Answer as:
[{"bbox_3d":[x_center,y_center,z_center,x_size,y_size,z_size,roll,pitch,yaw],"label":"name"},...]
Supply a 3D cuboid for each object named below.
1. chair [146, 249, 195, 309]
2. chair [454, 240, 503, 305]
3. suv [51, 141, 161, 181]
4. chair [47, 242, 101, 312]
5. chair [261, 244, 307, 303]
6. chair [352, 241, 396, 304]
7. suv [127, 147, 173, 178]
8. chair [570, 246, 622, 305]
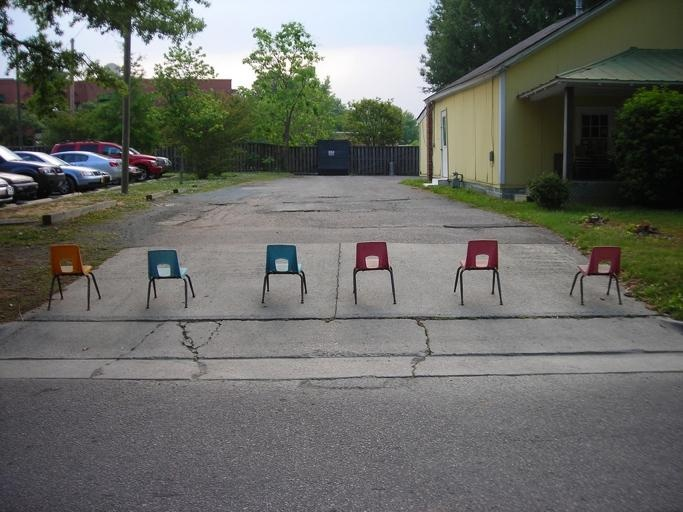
[{"bbox_3d":[-2.612,0.275,9.121,0.719,0.956,0.779,1,16,9],"label":"chair"},{"bbox_3d":[2.157,0.299,9.529,0.723,1.046,0.729,-1,26,1],"label":"chair"},{"bbox_3d":[-11.407,-4.638,28.480,5.485,2.123,2.480,-1,8,-6],"label":"suv"},{"bbox_3d":[-3.998,0.276,9.036,0.617,0.965,0.703,0,10,-3],"label":"chair"},{"bbox_3d":[-0.870,0.168,9.319,0.690,0.881,0.965,-1,14,-3],"label":"chair"},{"bbox_3d":[0.443,0.271,8.841,0.694,0.943,0.704,-4,-1,11],"label":"chair"},{"bbox_3d":[-9.435,-4.372,29.426,2.252,1.088,1.288,-1,16,-6],"label":"suv"},{"bbox_3d":[3.815,0.234,9.063,0.568,0.896,0.603,0,12,6],"label":"chair"}]
